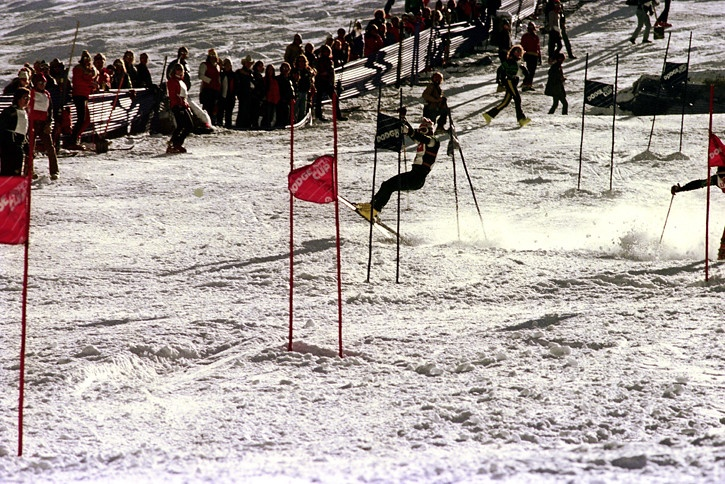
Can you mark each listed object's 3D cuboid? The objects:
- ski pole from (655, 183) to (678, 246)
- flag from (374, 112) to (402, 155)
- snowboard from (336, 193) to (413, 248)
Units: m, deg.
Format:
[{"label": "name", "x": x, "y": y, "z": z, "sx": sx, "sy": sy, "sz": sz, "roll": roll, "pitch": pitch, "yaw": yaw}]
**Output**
[{"label": "ski pole", "x": 6.451, "y": -0.536, "z": 26.876, "sx": 0.217, "sy": 1.204, "sz": 1.200, "roll": 9, "pitch": -19, "yaw": 14}, {"label": "flag", "x": 0.520, "y": -2.130, "z": 24.505, "sx": 0.533, "sy": 0.729, "sz": 0.331, "roll": -2, "pitch": 8, "yaw": 0}, {"label": "snowboard", "x": 0.250, "y": -0.402, "z": 26.102, "sx": 1.655, "sy": 0.169, "sz": 0.137, "roll": 40, "pitch": 27, "yaw": 14}]
